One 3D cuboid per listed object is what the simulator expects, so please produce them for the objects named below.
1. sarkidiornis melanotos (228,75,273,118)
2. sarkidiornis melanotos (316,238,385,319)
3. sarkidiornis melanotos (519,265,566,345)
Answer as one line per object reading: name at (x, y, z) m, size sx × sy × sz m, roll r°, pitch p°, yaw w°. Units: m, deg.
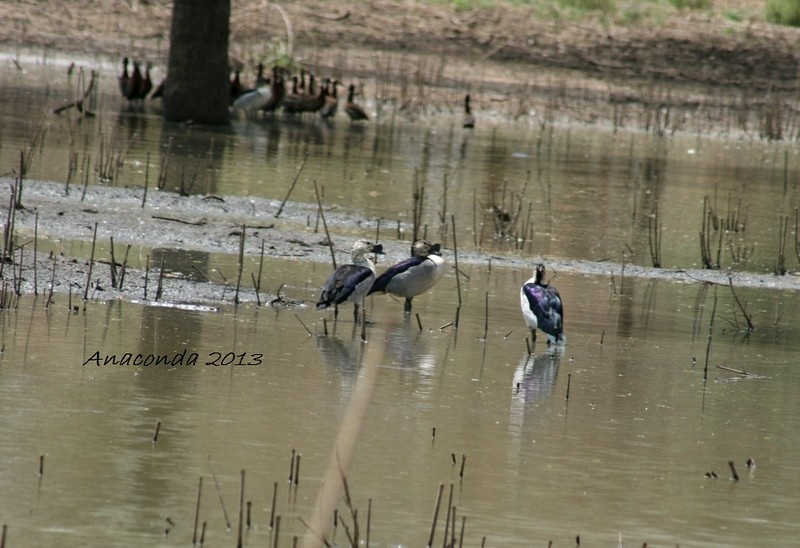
sarkidiornis melanotos at (-4.200, -4.949, 48.164) m, size 1.046 × 0.380 × 0.902 m, roll -17°, pitch -2°, yaw 4°
sarkidiornis melanotos at (-0.768, 0.119, 25.969) m, size 0.702 × 1.176 × 1.706 m, roll 5°, pitch 11°, yaw 35°
sarkidiornis melanotos at (2.139, 0.511, 25.452) m, size 0.640 × 1.171 × 0.847 m, roll 5°, pitch 5°, yaw -2°
